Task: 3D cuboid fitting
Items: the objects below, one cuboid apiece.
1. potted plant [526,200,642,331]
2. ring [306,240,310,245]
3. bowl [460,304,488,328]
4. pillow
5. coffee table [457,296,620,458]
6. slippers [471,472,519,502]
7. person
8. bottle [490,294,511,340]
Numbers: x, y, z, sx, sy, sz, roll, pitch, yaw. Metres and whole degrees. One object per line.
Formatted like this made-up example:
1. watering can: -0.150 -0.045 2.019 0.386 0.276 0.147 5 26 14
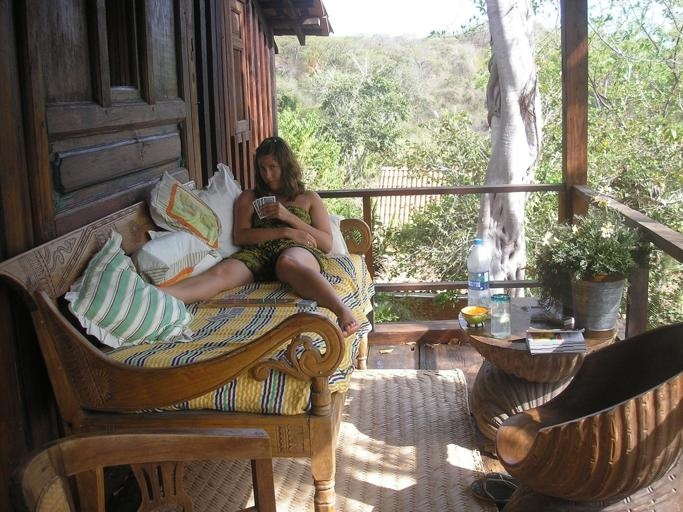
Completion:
1. potted plant: 1.268 0.089 2.695 0.476 0.540 0.562 6 14 31
2. ring: -0.207 -0.077 3.055 0.017 0.024 0.008 13 18 2
3. bowl: 0.674 0.307 2.615 0.098 0.071 0.105 0 -1 0
4. pillow: -0.874 0.027 2.471 0.342 0.383 0.936 19 12 -8
5. coffee table: 1.025 0.719 2.784 0.751 0.695 0.835 5 -24 14
6. slippers: 0.667 1.019 2.248 0.150 0.044 0.094 15 54 28
7. person: -0.495 -0.202 2.853 1.091 0.974 1.600 1 7 0
8. bottle: 0.783 0.307 2.538 0.128 0.193 0.137 -1 5 0
